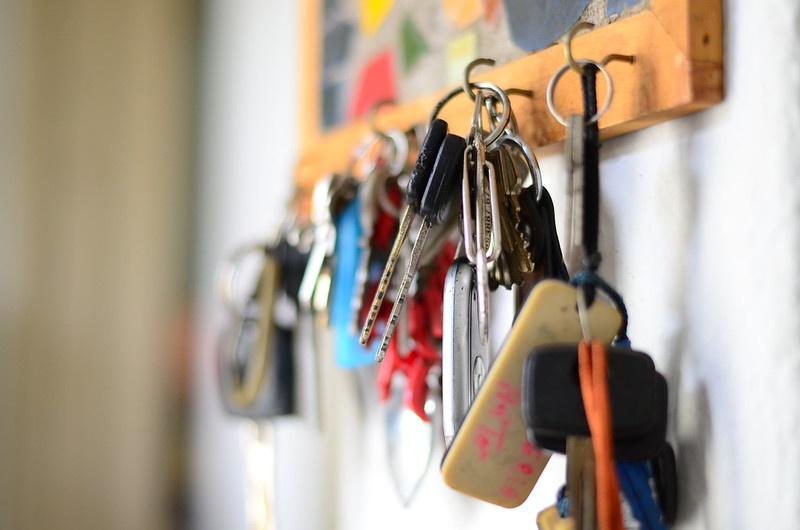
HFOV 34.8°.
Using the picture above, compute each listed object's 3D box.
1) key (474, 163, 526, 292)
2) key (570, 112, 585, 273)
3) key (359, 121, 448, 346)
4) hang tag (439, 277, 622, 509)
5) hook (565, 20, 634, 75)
[{"bbox_3d":[0.125,-0.050,1.526,0.063,0.158,0.063,-1,-4,16],"label":"key"},{"bbox_3d":[0.205,-0.086,1.482,0.018,0.183,0.028,-1,-4,11],"label":"key"},{"bbox_3d":[0.006,-0.028,1.624,0.025,0.295,0.040,10,11,-26],"label":"key"},{"bbox_3d":[0.155,0.145,1.480,0.127,0.308,0.029,25,2,-14],"label":"hang tag"},{"bbox_3d":[0.238,-0.263,1.512,0.070,0.064,0.026,3,-1,-4],"label":"hook"}]
